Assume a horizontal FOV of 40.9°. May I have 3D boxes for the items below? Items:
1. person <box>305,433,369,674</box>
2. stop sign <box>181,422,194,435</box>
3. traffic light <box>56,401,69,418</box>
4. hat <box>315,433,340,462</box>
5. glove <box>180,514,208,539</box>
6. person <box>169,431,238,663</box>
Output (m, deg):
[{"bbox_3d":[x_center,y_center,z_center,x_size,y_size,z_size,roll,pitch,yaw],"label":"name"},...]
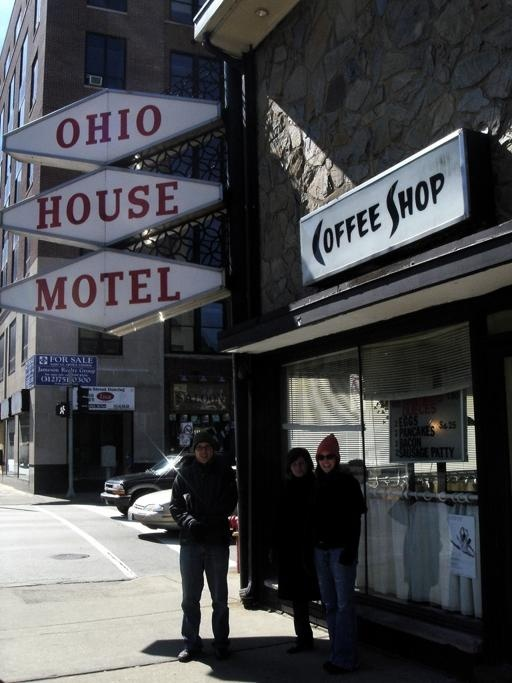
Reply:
[{"bbox_3d":[0.612,1.500,4.998,0.343,1.629,0.455,0,-7,-5],"label":"person"},{"bbox_3d":[-2.820,3.509,27.788,0.435,0.549,0.120,2,1,-39],"label":"stop sign"},{"bbox_3d":[-6.654,2.279,23.490,0.326,0.477,0.638,5,-10,-35],"label":"traffic light"},{"bbox_3d":[0.555,0.809,5.264,0.130,0.191,0.197,3,-17,7],"label":"hat"},{"bbox_3d":[-0.484,1.399,5.171,0.210,0.165,0.205,-2,-8,11],"label":"glove"},{"bbox_3d":[-0.413,1.555,5.293,0.516,1.689,0.491,0,-7,-5],"label":"person"}]
